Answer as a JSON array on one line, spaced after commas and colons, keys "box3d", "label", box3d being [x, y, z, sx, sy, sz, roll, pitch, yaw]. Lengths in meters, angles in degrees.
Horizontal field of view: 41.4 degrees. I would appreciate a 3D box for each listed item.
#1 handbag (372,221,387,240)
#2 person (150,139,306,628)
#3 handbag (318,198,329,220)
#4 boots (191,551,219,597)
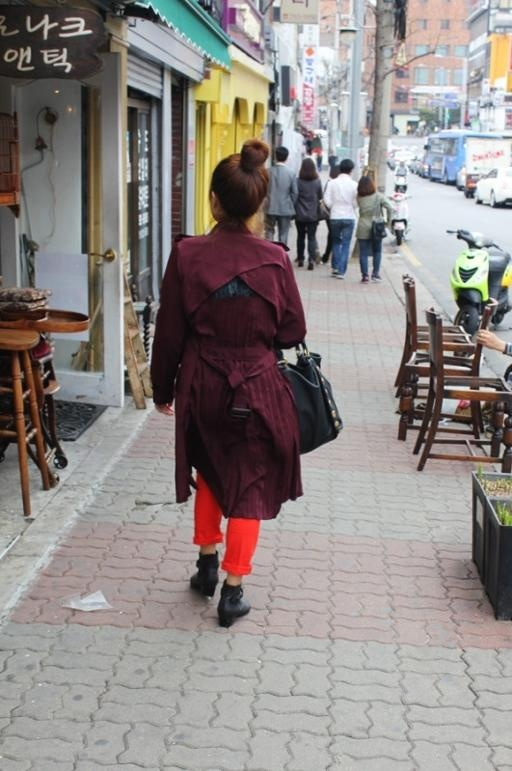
[{"box3d": [2.326, -2.969, 12.960, 0.264, 0.349, 0.489, 4, 7, 12], "label": "handbag"}, {"box3d": [-0.102, 0.202, 2.598, 0.605, 1.538, 0.362, 1, 7, -9], "label": "person"}, {"box3d": [1.342, -3.523, 13.501, 0.194, 0.457, 0.462, -2, 1, 0], "label": "handbag"}, {"box3d": [-0.226, 0.794, 2.924, 0.106, 0.172, 0.249, 2, 11, -7], "label": "boots"}]
